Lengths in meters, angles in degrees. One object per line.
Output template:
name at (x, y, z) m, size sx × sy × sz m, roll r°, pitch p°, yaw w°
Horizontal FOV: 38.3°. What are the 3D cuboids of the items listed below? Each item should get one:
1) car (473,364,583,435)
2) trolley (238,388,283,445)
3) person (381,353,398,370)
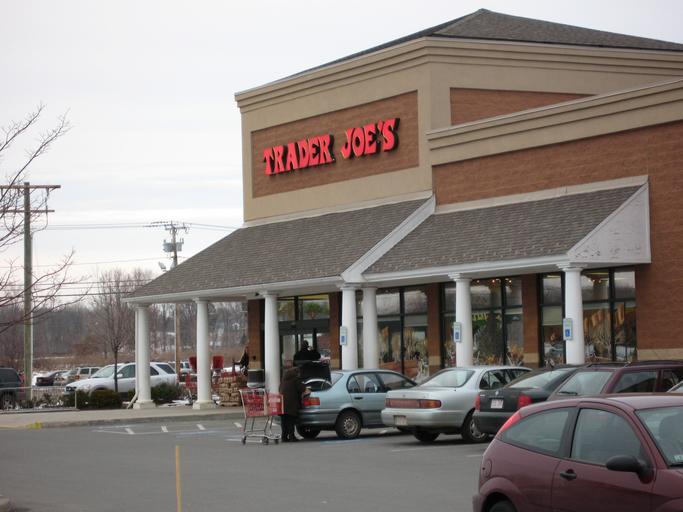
car at (3.819, 2.903, 20.061) m, size 2.209 × 0.784 × 0.992 m, roll -6°, pitch 2°, yaw -42°
trolley at (-2.051, 4.017, 24.768) m, size 1.210 × 1.335 × 0.784 m, roll -1°, pitch -7°, yaw -2°
person at (1.670, 3.614, 33.532) m, size 0.470 × 0.619 × 0.859 m, roll 2°, pitch -5°, yaw -35°
